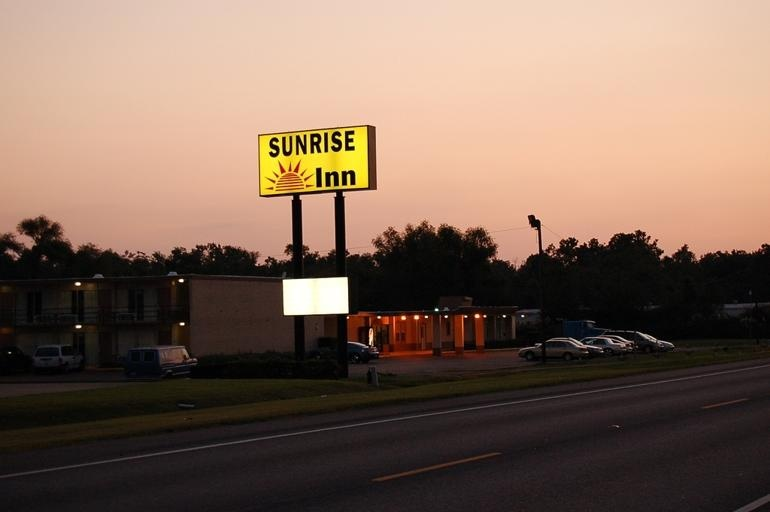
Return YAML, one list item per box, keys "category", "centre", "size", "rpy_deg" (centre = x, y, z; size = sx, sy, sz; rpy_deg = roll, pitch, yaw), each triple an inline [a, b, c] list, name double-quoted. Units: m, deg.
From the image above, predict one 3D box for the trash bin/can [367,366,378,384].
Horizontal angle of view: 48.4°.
- category: "trash bin/can"
  centre: [-0.592, 5.891, 42.216]
  size: [0.465, 0.596, 0.787]
  rpy_deg: [-1, -1, -14]

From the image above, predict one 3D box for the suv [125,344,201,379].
- category: "suv"
  centre: [-12.161, 5.742, 47.118]
  size: [1.972, 1.462, 3.246]
  rpy_deg: [0, 2, 32]

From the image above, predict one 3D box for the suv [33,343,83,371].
- category: "suv"
  centre: [-22.986, 7.149, 60.196]
  size: [1.520, 1.956, 3.290]
  rpy_deg: [-1, -1, 13]
